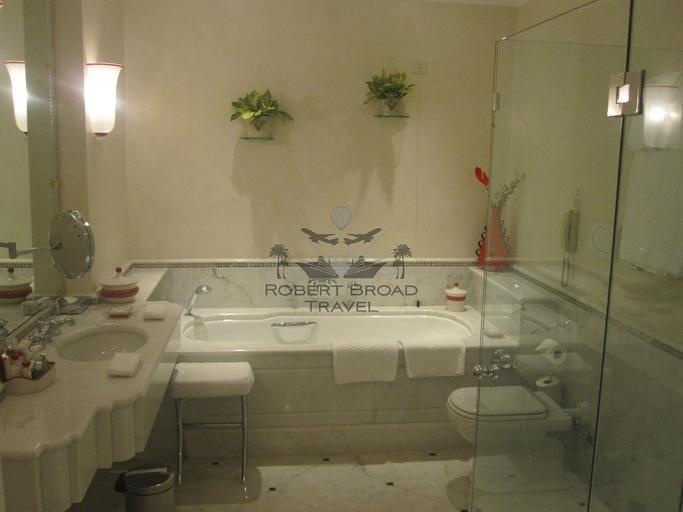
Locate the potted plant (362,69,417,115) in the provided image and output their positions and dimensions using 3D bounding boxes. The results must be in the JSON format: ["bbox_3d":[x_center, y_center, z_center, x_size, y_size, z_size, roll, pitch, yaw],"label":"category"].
[{"bbox_3d":[0.368,-1.202,4.137,0.129,0.274,0.292,-24,24,-35],"label":"potted plant"}]

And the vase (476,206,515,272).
[{"bbox_3d":[0.695,-0.081,2.565,0.074,0.298,0.223,-2,8,-7],"label":"vase"}]

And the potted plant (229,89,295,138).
[{"bbox_3d":[-0.573,-1.010,4.052,0.350,0.276,0.376,-4,8,-30],"label":"potted plant"}]

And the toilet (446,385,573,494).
[{"bbox_3d":[0.754,0.802,2.554,0.497,0.367,0.380,-5,10,5],"label":"toilet"}]

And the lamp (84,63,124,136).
[{"bbox_3d":[-1.401,-0.931,3.352,0.235,0.399,0.241,3,10,-8],"label":"lamp"}]

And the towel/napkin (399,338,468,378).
[{"bbox_3d":[0.588,0.644,3.564,0.272,0.094,0.267,-1,5,-6],"label":"towel/napkin"}]

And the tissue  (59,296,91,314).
[{"bbox_3d":[-1.486,0.267,3.169,0.091,0.033,0.131,-1,16,-33],"label":"tissue "}]

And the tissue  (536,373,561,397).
[{"bbox_3d":[0.846,0.528,2.320,0.072,0.083,0.075,-19,16,21],"label":"tissue "}]

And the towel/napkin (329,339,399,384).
[{"bbox_3d":[0.146,0.665,3.520,0.349,0.211,0.266,0,8,-3],"label":"towel/napkin"}]

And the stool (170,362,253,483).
[{"bbox_3d":[-0.712,0.957,3.498,0.559,0.917,0.596,1,2,-9],"label":"stool"}]
